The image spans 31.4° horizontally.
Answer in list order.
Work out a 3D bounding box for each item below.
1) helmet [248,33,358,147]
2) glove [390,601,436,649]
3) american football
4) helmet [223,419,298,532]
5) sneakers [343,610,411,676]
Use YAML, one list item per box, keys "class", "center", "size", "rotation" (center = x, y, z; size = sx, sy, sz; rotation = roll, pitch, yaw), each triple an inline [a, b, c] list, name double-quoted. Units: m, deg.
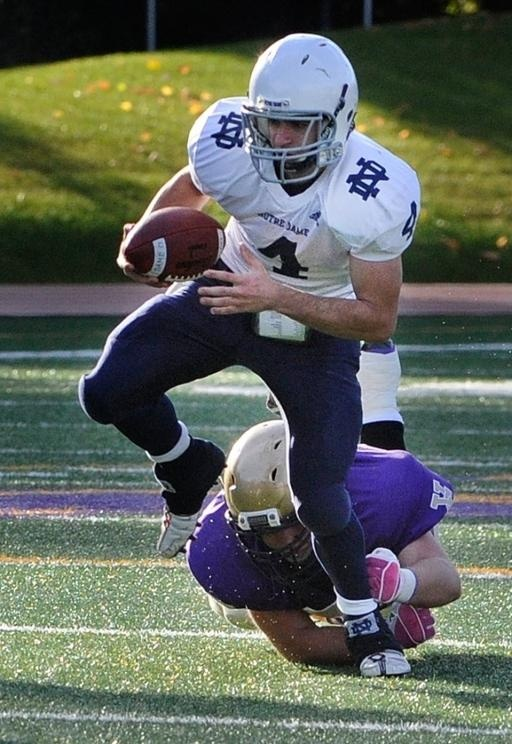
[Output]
- class: "helmet"
  center: [0.086, -0.630, 2.059]
  size: [0.256, 0.224, 0.302]
  rotation: [13, 24, 23]
- class: "glove"
  center: [0.318, 0.542, 1.972]
  size: [0.097, 0.100, 0.105]
  rotation: [-14, -23, 3]
- class: "american football"
  center: [-0.188, -0.296, 2.069]
  size: [0.276, 0.142, 0.173]
  rotation: [-9, 25, -26]
- class: "helmet"
  center: [0.009, 0.223, 1.928]
  size: [0.137, 0.188, 0.201]
  rotation: [-3, 7, 1]
- class: "sneakers"
  center: [0.240, 0.546, 1.816]
  size: [0.076, 0.074, 0.191]
  rotation: [-6, 9, -1]
